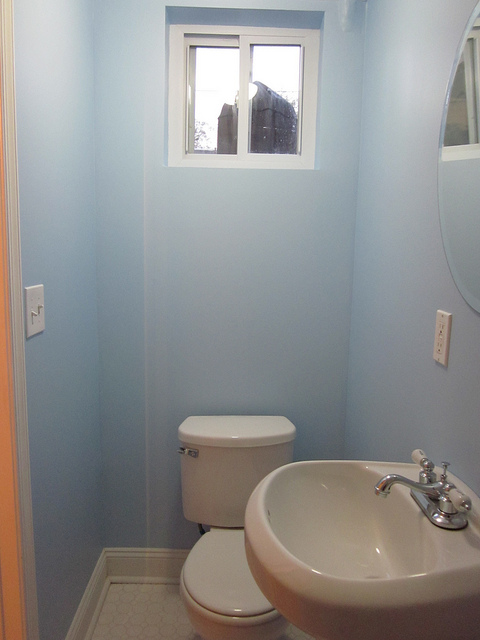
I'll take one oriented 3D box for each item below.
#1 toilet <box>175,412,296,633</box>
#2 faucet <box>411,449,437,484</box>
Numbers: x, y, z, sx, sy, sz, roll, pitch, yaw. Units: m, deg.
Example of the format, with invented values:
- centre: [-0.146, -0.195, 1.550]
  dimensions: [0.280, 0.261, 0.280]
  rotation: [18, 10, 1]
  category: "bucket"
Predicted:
- centre: [-0.052, 0.597, 1.689]
  dimensions: [0.275, 0.829, 0.652]
  rotation: [0, -2, 1]
  category: "toilet"
- centre: [0.352, 0.278, 0.997]
  dimensions: [0.020, 0.059, 0.076]
  rotation: [-1, 12, 1]
  category: "faucet"
